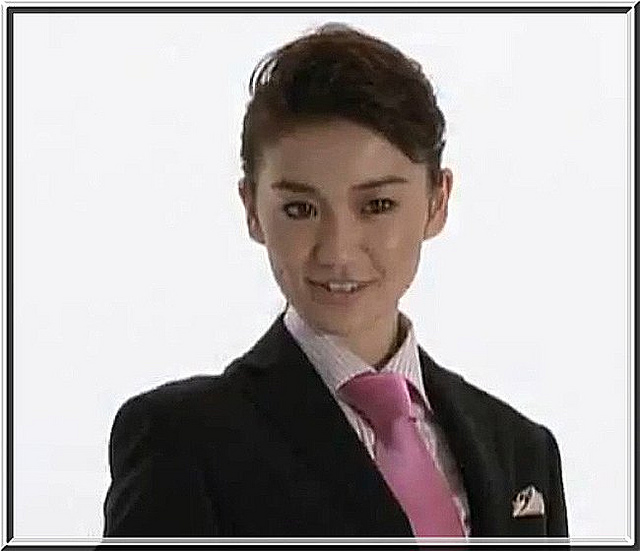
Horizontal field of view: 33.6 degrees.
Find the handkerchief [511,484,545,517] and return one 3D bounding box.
[{"bbox_3d":[0.757,0.817,3.862,0.166,0.111,0.023,7,-14,-40],"label":"handkerchief"}]

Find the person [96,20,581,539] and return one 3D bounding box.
[{"bbox_3d":[-0.007,0.176,3.493,1.467,1.613,0.809,1,-17,-4],"label":"person"}]
